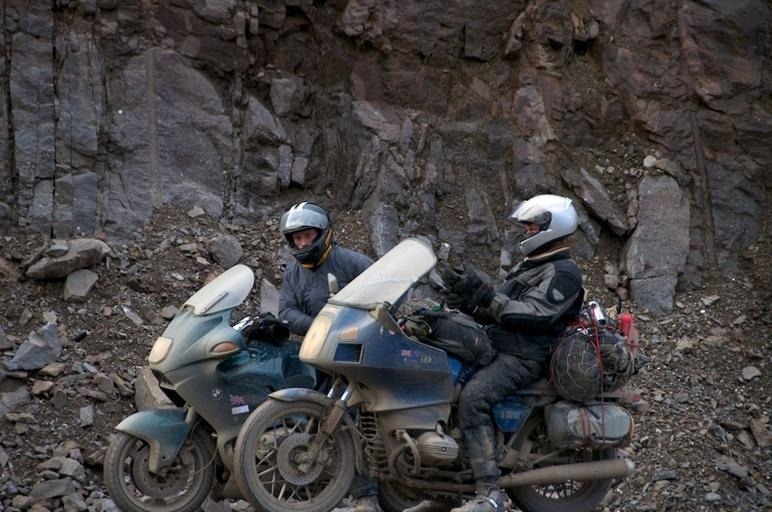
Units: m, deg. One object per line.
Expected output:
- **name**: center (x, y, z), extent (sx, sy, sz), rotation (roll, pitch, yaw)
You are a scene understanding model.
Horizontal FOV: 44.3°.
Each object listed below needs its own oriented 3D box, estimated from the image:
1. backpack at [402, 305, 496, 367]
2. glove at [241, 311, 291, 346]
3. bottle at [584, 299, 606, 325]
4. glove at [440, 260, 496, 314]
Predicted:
- **backpack**: center (0.726, 0.970, 11.200), extent (0.919, 0.392, 0.649), rotation (25, 7, -8)
- **glove**: center (-1.460, 0.906, 11.652), extent (0.472, 0.224, 0.358), rotation (3, -1, 4)
- **bottle**: center (2.491, 0.674, 11.317), extent (0.171, 0.118, 0.303), rotation (-12, 61, -11)
- **glove**: center (1.002, 0.354, 11.391), extent (0.497, 0.680, 0.330), rotation (35, 67, 6)
